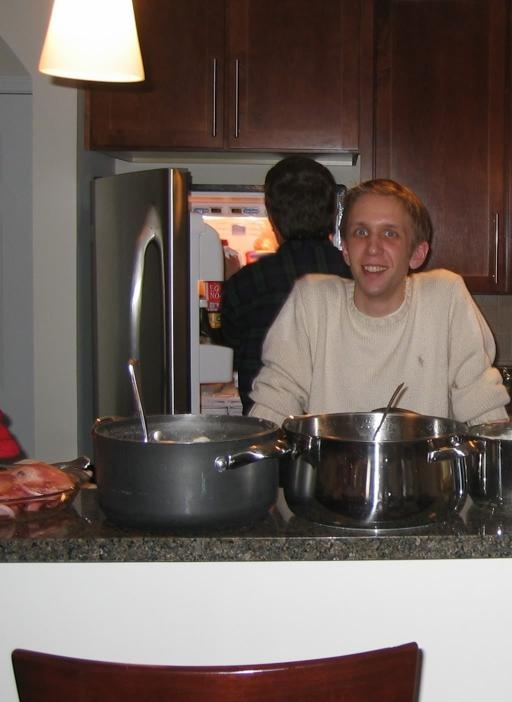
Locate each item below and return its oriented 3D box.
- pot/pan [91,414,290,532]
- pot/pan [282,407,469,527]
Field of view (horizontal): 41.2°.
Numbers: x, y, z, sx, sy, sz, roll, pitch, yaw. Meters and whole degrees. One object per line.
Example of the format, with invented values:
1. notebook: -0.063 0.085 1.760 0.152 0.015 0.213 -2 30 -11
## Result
1. pot/pan: -0.071 0.119 0.677 0.188 0.096 0.192 0 2 -4
2. pot/pan: 0.126 0.120 0.715 0.193 0.089 0.209 0 2 1
